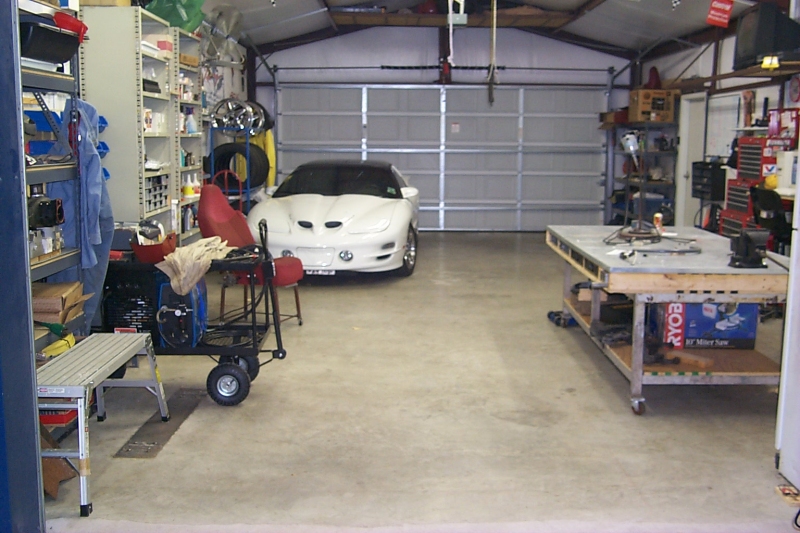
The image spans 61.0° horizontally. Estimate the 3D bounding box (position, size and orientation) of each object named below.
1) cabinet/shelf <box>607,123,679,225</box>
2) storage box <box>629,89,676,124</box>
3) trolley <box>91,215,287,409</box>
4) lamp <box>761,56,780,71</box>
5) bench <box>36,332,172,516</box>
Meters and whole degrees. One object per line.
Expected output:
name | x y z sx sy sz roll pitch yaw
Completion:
cabinet/shelf | 4.206 -1.575 11.574 0.697 1.938 2.133 0 10 1
storage box | 4.464 -2.831 12.020 0.969 0.493 0.953 -10 16 -39
trolley | -1.724 0.411 5.996 1.828 1.504 1.142 2 7 -1
lamp | 4.193 -2.293 7.668 0.175 0.124 0.172 -2 8 -9
bench | -2.175 0.987 4.759 0.655 0.771 1.569 5 6 -7
